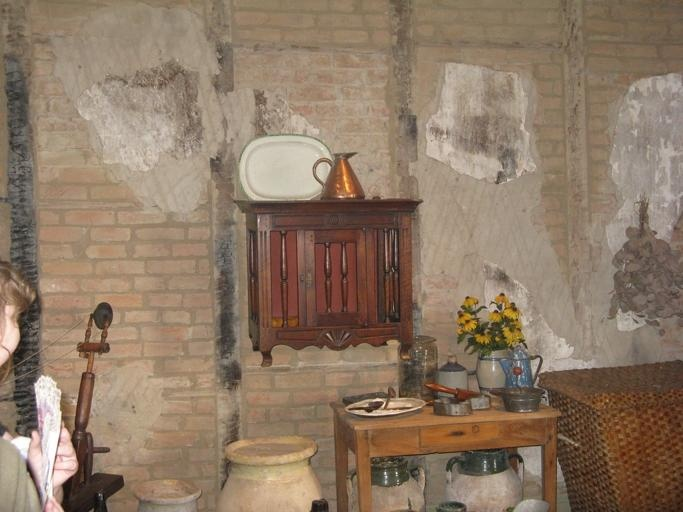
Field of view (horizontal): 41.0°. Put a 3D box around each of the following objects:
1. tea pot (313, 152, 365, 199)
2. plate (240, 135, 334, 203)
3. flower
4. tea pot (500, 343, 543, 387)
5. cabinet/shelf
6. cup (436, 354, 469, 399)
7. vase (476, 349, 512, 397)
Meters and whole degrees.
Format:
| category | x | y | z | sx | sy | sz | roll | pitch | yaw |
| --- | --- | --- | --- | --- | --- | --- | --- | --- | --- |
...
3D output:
| category | x | y | z | sx | sy | sz | roll | pitch | yaw |
| --- | --- | --- | --- | --- | --- | --- | --- | --- | --- |
| tea pot | -0.031 | -0.441 | 5.056 | 0.285 | 0.271 | 0.221 | -2 | 5 | -17 |
| plate | -0.348 | -0.482 | 5.034 | 0.492 | 0.081 | 0.668 | -1 | 34 | 12 |
| flower | 0.849 | 0.390 | 5.273 | 0.382 | 0.349 | 0.363 | -2 | -2 | 7 |
| tea pot | 1.020 | 0.630 | 5.164 | 0.185 | 0.257 | 0.241 | 6 | -11 | -41 |
| cabinet/shelf | -0.060 | 0.130 | 5.139 | 0.899 | 0.889 | 0.374 | -2 | 6 | -6 |
| cup | 0.619 | 0.654 | 5.115 | 0.170 | 0.205 | 0.180 | -2 | 2 | 0 |
| vase | 0.862 | 0.652 | 5.207 | 0.190 | 0.213 | 0.195 | 0 | 0 | 4 |
